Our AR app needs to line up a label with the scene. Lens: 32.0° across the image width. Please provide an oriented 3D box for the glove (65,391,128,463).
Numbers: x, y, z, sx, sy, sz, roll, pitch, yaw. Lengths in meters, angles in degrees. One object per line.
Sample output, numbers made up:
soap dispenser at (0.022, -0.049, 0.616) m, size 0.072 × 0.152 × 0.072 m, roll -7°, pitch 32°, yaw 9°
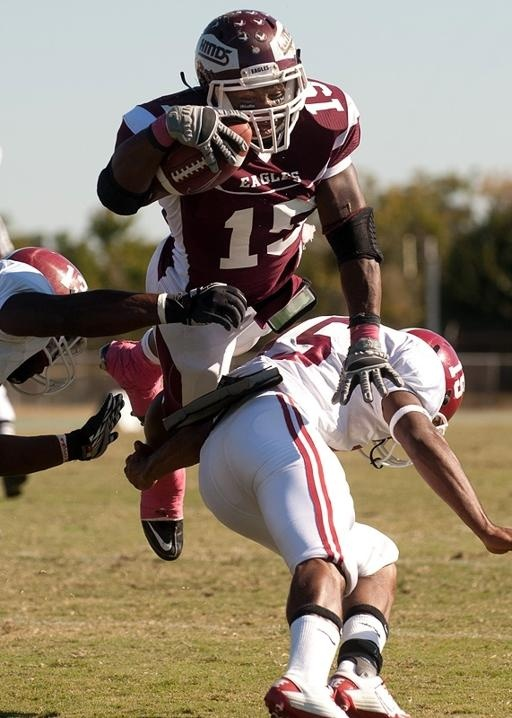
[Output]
glove at (-0.692, 0.300, 4.004) m, size 0.160 × 0.122 × 0.369 m, roll 39°, pitch 52°, yaw -5°

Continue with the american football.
american football at (-0.127, -0.620, 2.728) m, size 0.302 × 0.178 × 0.087 m, roll -23°, pitch 27°, yaw 32°

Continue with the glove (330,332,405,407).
glove at (0.347, 0.031, 2.810) m, size 0.229 × 0.096 × 0.219 m, roll -6°, pitch 65°, yaw -2°

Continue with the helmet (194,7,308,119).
helmet at (-0.019, -0.967, 2.879) m, size 0.342 × 0.291 × 0.236 m, roll -1°, pitch 25°, yaw -2°

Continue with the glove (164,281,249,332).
glove at (-0.147, -0.154, 2.740) m, size 0.235 × 0.097 × 0.126 m, roll -7°, pitch 55°, yaw 16°

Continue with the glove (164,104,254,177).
glove at (-0.170, -0.636, 2.618) m, size 0.241 × 0.168 × 0.071 m, roll 31°, pitch -19°, yaw -26°

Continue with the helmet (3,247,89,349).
helmet at (-0.748, -0.290, 3.445) m, size 0.340 × 0.246 × 0.262 m, roll 20°, pitch 61°, yaw -28°
